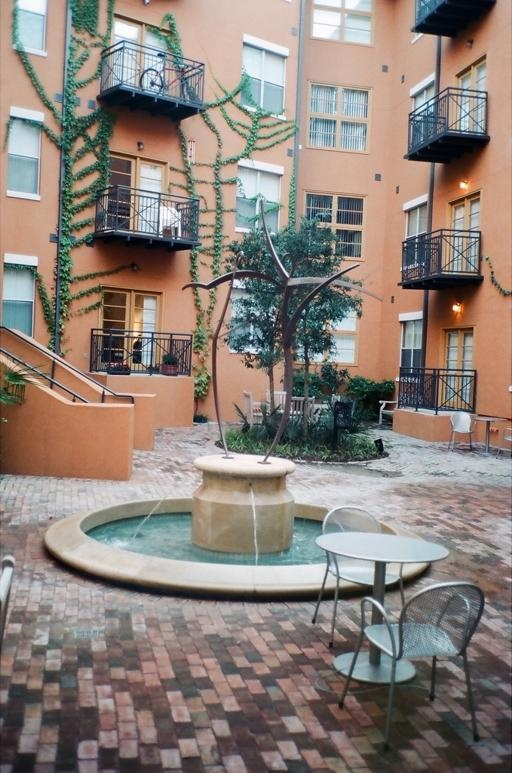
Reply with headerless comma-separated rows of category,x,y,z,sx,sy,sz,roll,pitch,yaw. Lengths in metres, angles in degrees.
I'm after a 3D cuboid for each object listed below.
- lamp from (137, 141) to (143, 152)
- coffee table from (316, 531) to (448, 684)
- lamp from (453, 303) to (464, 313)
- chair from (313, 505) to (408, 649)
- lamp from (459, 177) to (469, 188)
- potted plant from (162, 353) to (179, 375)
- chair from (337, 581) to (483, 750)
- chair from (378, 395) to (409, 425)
lamp,-3.183,-6.569,16.586,0.200,0.280,0.156,2,0,-28
coffee table,0.662,1.195,3.262,0.624,0.663,0.643,4,1,19
lamp,5.576,-2.147,16.605,0.175,0.256,0.094,13,10,32
chair,0.666,1.226,4.241,0.626,1.180,0.760,3,-9,-17
lamp,5.688,-5.511,16.531,0.247,0.292,0.258,3,-2,-8
potted plant,-2.318,-0.570,16.091,0.484,0.622,0.459,1,-1,-16
chair,0.770,1.216,2.744,0.400,0.650,0.449,4,-15,6
chair,4.484,0.873,20.139,0.702,1.203,0.722,-1,-4,38
